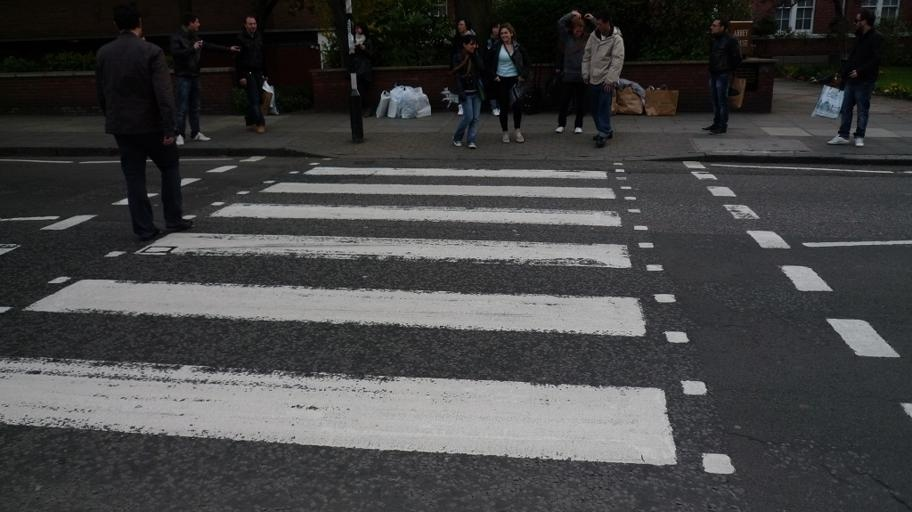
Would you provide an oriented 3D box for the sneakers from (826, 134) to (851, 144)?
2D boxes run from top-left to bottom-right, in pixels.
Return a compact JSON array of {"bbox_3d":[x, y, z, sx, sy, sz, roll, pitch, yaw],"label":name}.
[{"bbox_3d":[8.266,-2.513,16.037,0.582,0.245,0.207,1,21,11],"label":"sneakers"}]

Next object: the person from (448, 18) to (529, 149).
[{"bbox_3d":[0.787,-3.803,16.563,1.667,2.630,0.969,-13,26,-30],"label":"person"}]

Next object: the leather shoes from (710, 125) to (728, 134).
[{"bbox_3d":[6.130,-2.966,17.405,0.445,0.163,0.145,5,26,6],"label":"leather shoes"}]

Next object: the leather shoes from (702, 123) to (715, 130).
[{"bbox_3d":[5.985,-3.093,17.756,0.153,0.165,0.433,-16,15,-35],"label":"leather shoes"}]

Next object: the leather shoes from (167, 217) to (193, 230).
[{"bbox_3d":[-4.337,-0.487,11.666,0.406,0.159,0.151,-11,32,-18],"label":"leather shoes"}]

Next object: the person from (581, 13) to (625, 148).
[{"bbox_3d":[3.252,-3.920,16.486,0.741,2.786,1.263,-1,22,-5],"label":"person"}]

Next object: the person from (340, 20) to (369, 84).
[{"bbox_3d":[-2.643,-5.693,20.825,0.446,1.531,0.633,-2,23,-6],"label":"person"}]

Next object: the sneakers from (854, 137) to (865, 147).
[{"bbox_3d":[8.550,-2.430,15.783,0.123,0.114,0.334,-1,23,22],"label":"sneakers"}]

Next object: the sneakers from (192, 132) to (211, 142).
[{"bbox_3d":[-6.087,-2.843,17.784,0.503,0.184,0.188,2,43,-13],"label":"sneakers"}]

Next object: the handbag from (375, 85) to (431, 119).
[{"bbox_3d":[-1.480,-4.293,20.885,1.003,0.635,1.288,0,26,-2],"label":"handbag"}]

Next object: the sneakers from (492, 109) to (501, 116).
[{"bbox_3d":[1.092,-3.974,20.473,0.137,0.132,0.353,-4,17,-9],"label":"sneakers"}]
